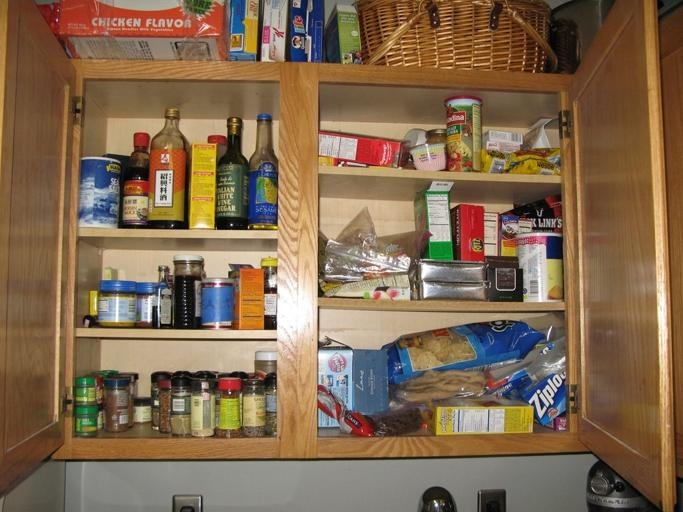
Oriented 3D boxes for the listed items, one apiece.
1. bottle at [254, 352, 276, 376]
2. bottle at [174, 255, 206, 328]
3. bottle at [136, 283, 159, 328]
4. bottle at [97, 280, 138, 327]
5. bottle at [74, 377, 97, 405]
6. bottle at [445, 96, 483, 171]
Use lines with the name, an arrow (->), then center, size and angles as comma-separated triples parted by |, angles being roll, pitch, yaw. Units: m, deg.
bottle -> -0.207, 0.290, 1.753 | 0.067, 0.057, 0.061 | 2, -5, -10
bottle -> -0.426, 0.103, 1.730 | 0.099, 0.205, 0.097 | 0, -6, 0
bottle -> -0.525, 0.131, 1.736 | 0.078, 0.113, 0.071 | -1, -8, -11
bottle -> -0.582, 0.120, 1.676 | 0.126, 0.119, 0.118 | 4, -6, -25
bottle -> -0.634, 0.329, 1.608 | 0.067, 0.060, 0.062 | 2, -3, -21
bottle -> 0.356, -0.331, 1.763 | 0.131, 0.188, 0.128 | -1, 10, 0
